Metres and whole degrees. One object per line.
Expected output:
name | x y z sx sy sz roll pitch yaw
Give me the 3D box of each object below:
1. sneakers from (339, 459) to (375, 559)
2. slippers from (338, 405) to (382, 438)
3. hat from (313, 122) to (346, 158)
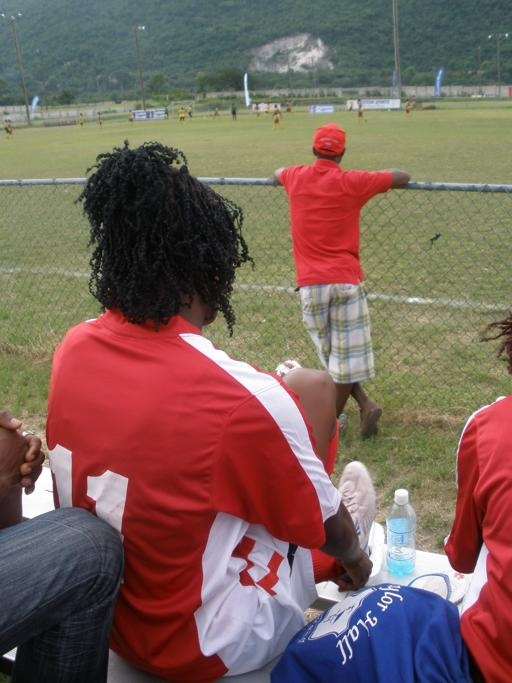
sneakers | 0.341 0.527 2.581 0.103 0.247 0.151 24 -31 -29
slippers | 0.569 0.419 4.103 0.115 0.287 0.133 3 17 -33
hat | 0.366 -1.018 3.894 0.146 0.107 0.207 5 38 7
